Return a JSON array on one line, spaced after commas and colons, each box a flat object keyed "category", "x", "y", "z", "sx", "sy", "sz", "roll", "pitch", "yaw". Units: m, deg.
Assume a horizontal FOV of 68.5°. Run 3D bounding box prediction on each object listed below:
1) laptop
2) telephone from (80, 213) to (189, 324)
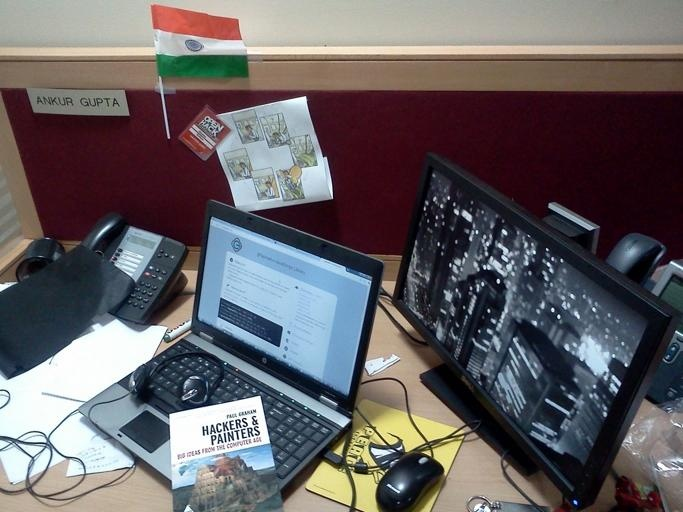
[{"category": "laptop", "x": -0.162, "y": 0.267, "z": 1.155, "sx": 0.581, "sy": 0.412, "sz": 0.545, "roll": 25, "pitch": 46, "yaw": 24}, {"category": "telephone", "x": -0.550, "y": 0.009, "z": 1.299, "sx": 0.268, "sy": 0.105, "sz": 0.200, "roll": 21, "pitch": 43, "yaw": 14}]
